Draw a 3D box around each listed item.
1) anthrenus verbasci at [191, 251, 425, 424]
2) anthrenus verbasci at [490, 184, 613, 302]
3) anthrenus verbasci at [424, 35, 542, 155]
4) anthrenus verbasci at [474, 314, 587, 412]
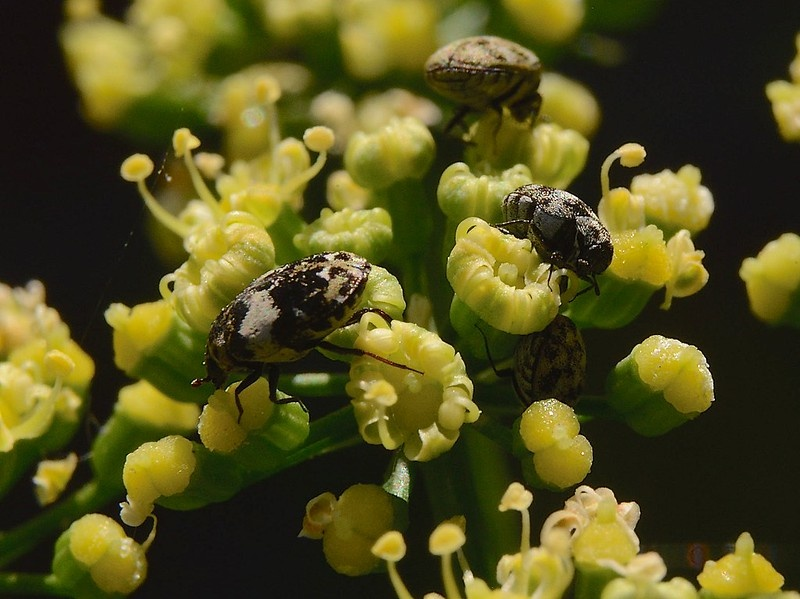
[{"bbox_3d":[-0.200,0.018,2.259,0.311,0.405,0.325,2,7,32],"label":"anthrenus verbasci"},{"bbox_3d":[0.321,-0.121,2.282,0.182,0.166,0.232,-26,52,-27],"label":"anthrenus verbasci"},{"bbox_3d":[0.200,-0.468,2.478,0.238,0.211,0.205,-14,28,-34],"label":"anthrenus verbasci"},{"bbox_3d":[0.299,0.139,2.207,0.133,0.152,0.129,-8,45,-12],"label":"anthrenus verbasci"}]
